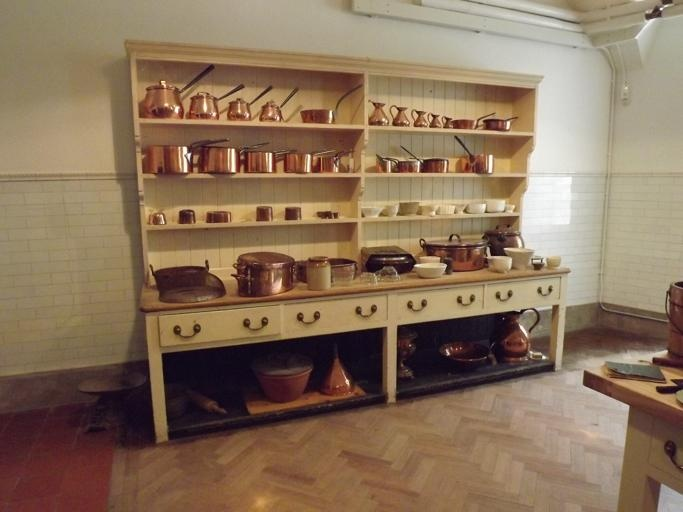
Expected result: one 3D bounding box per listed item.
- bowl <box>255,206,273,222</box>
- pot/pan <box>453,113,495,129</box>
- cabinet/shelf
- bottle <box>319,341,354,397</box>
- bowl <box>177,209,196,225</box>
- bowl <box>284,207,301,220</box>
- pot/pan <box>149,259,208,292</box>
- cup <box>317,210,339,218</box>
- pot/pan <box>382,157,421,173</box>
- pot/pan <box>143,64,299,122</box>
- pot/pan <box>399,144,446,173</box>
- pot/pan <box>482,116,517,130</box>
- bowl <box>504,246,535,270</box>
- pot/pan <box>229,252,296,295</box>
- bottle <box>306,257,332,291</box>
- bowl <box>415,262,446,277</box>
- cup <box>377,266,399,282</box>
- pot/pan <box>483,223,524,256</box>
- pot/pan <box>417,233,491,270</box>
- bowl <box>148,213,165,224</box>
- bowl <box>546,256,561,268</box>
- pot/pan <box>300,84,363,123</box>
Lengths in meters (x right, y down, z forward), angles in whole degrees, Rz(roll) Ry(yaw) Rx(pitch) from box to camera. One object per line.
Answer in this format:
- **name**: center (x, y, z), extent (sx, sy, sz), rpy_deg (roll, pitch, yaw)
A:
- **bowl**: center (-0.684, -0.377, 4.833), extent (0.157, 0.097, 0.146), rpy_deg (1, 9, 0)
- **pot/pan**: center (1.355, -1.339, 5.450), extent (0.468, 0.141, 0.234), rpy_deg (-4, 6, -18)
- **cabinet/shelf**: center (0.247, -0.246, 5.182), extent (4.552, 2.961, 0.952), rpy_deg (-5, 14, -29)
- **bottle**: center (-0.032, 0.998, 4.823), extent (0.321, 0.444, 0.223), rpy_deg (-5, 10, -16)
- **bowl**: center (-1.332, -0.338, 4.660), extent (0.153, 0.109, 0.141), rpy_deg (1, 10, 0)
- **bowl**: center (-0.447, -0.392, 4.943), extent (0.134, 0.076, 0.121), rpy_deg (1, 5, 17)
- **pot/pan**: center (-1.323, 0.165, 4.481), extent (0.422, 0.186, 0.364), rpy_deg (-3, 8, -11)
- **cup**: center (-0.136, -0.389, 5.092), extent (0.152, 0.046, 0.091), rpy_deg (-3, -2, 43)
- **pot/pan**: center (0.582, -0.892, 5.276), extent (0.335, 0.096, 0.172), rpy_deg (0, 4, -1)
- **pot/pan**: center (-1.159, -1.406, 4.653), extent (1.127, 0.502, 0.358), rpy_deg (-5, 9, -18)
- **pot/pan**: center (0.764, -0.943, 5.321), extent (0.542, 0.286, 0.234), rpy_deg (-1, 6, -1)
- **pot/pan**: center (1.631, -1.333, 5.509), extent (0.335, 0.098, 0.199), rpy_deg (-4, 2, -34)
- **bowl**: center (1.766, 0.007, 5.322), extent (0.298, 0.154, 0.220), rpy_deg (-1, 4, -11)
- **pot/pan**: center (-0.626, 0.133, 4.438), extent (0.524, 0.209, 0.376), rpy_deg (-7, 16, -38)
- **bottle**: center (-0.172, 0.146, 4.640), extent (0.256, 0.258, 0.211), rpy_deg (-5, 9, -18)
- **bowl**: center (0.849, 0.124, 5.065), extent (0.289, 0.118, 0.337), rpy_deg (0, 8, 11)
- **cup**: center (0.429, 0.162, 4.897), extent (0.128, 0.080, 0.172), rpy_deg (0, 0, -18)
- **pot/pan**: center (1.666, -0.165, 5.537), extent (0.364, 0.277, 0.338), rpy_deg (-1, 3, -28)
- **pot/pan**: center (1.117, -0.031, 5.371), extent (0.585, 0.234, 0.448), rpy_deg (-1, 2, -8)
- **bowl**: center (-1.571, -0.317, 4.614), extent (0.125, 0.072, 0.111), rpy_deg (0, 1, -7)
- **bowl**: center (2.113, 0.058, 5.387), extent (0.135, 0.090, 0.128), rpy_deg (1, 0, 0)
- **pot/pan**: center (0.008, -1.365, 4.922), extent (0.660, 0.310, 0.345), rpy_deg (0, 4, 17)
